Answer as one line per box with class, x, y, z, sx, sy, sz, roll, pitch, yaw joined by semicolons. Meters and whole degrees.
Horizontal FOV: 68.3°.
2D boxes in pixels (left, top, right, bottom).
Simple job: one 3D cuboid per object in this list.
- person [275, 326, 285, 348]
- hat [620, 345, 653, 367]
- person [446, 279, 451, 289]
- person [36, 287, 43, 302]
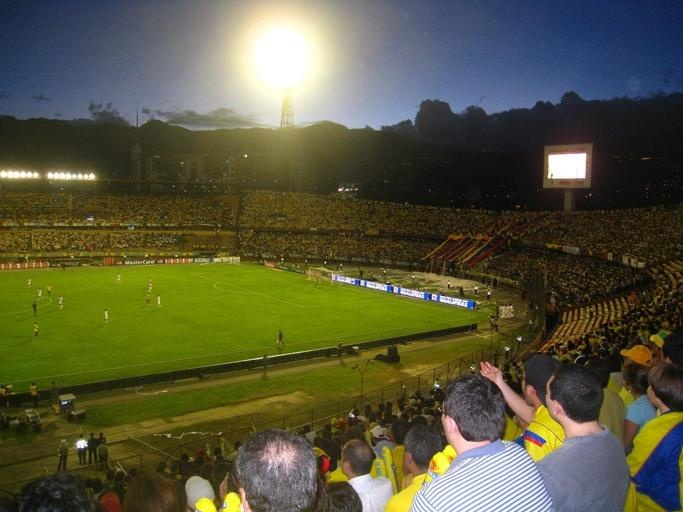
person;-4.466;5.949;36.308;0.471;1.370;0.439;-1;40;-3
hat;5.549;1.929;9.445;0.459;0.396;1.090;5;8;31
person;13.095;3.464;62.028;0.819;0.855;0.259;1;-1;9
person;-30.106;3.857;50.055;0.767;0.883;0.338;-2;-4;-23
